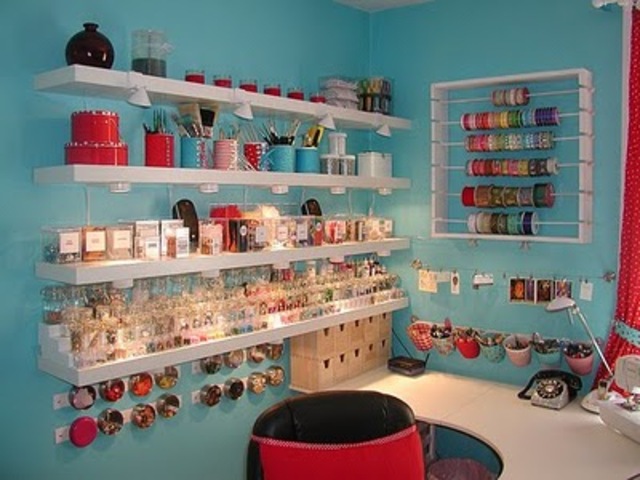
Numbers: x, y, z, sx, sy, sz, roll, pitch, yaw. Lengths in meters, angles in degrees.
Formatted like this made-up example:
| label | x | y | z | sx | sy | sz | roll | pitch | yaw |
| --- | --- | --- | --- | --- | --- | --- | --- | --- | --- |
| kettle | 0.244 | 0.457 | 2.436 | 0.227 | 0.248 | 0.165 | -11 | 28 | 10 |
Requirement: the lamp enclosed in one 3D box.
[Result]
| label | x | y | z | sx | sy | sz | roll | pitch | yaw |
| --- | --- | --- | --- | --- | --- | --- | --- | --- | --- |
| lamp | 1.645 | 0.691 | 2.998 | 0.390 | 0.670 | 0.301 | -4 | -2 | 13 |

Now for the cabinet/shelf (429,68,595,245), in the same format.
| label | x | y | z | sx | sy | sz | roll | pitch | yaw |
| --- | --- | --- | --- | --- | --- | --- | --- | --- | --- |
| cabinet/shelf | 1.356 | -0.587 | 3.357 | 1.211 | 1.239 | 0.291 | 0 | -2 | 34 |

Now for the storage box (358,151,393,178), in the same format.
| label | x | y | z | sx | sy | sz | roll | pitch | yaw |
| --- | --- | --- | --- | --- | --- | --- | --- | --- | --- |
| storage box | 0.410 | -0.549 | 3.710 | 0.317 | 0.252 | 0.178 | -5 | 8 | -45 |

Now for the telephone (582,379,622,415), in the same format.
| label | x | y | z | sx | sy | sz | roll | pitch | yaw |
| --- | --- | --- | --- | --- | --- | --- | --- | --- | --- |
| telephone | 1.745 | 0.928 | 2.987 | 0.261 | 0.188 | 0.160 | -9 | 10 | -22 |

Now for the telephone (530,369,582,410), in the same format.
| label | x | y | z | sx | sy | sz | roll | pitch | yaw |
| --- | --- | --- | --- | --- | --- | --- | --- | --- | --- |
| telephone | 1.530 | 0.963 | 3.178 | 0.314 | 0.181 | 0.344 | -8 | -3 | 13 |
